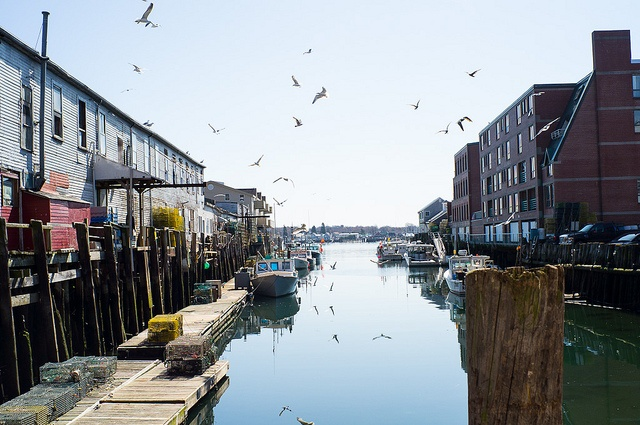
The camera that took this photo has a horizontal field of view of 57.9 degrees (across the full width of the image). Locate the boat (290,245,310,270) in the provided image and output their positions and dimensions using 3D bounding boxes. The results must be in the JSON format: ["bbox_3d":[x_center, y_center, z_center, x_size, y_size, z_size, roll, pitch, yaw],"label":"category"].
[{"bbox_3d":[-2.409,5.244,67.119,2.083,2.345,8.482,-1,-6,2],"label":"boat"}]

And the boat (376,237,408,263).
[{"bbox_3d":[12.077,6.207,96.853,4.336,3.150,8.285,-1,-3,4],"label":"boat"}]

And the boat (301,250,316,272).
[{"bbox_3d":[-1.554,6.033,71.695,1.417,1.823,5.884,-2,6,-1],"label":"boat"}]

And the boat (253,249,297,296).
[{"bbox_3d":[-3.251,4.808,41.501,2.380,2.818,3.164,1,7,34],"label":"boat"}]
